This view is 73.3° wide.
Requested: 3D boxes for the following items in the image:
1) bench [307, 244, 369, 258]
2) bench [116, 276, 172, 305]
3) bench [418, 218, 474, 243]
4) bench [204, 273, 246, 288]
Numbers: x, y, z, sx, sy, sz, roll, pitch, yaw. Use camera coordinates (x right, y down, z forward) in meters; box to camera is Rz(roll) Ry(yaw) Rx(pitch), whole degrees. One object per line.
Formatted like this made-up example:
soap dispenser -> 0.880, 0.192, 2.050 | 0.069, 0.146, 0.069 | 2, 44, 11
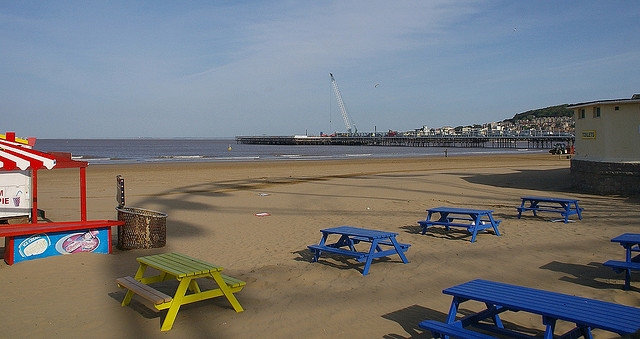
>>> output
bench -> 0.624, 2.268, 11.808 | 1.496, 0.343, 0.797 | -5, 2, 42
bench -> -4.056, 2.800, 9.925 | 1.603, 0.623, 0.392 | -5, 3, 37
bench -> 4.209, 1.911, 14.372 | 1.597, 0.581, 1.956 | -6, 1, 7
bench -> -2.133, 2.619, 10.274 | 0.461, 0.289, 0.670 | -7, 2, -24
